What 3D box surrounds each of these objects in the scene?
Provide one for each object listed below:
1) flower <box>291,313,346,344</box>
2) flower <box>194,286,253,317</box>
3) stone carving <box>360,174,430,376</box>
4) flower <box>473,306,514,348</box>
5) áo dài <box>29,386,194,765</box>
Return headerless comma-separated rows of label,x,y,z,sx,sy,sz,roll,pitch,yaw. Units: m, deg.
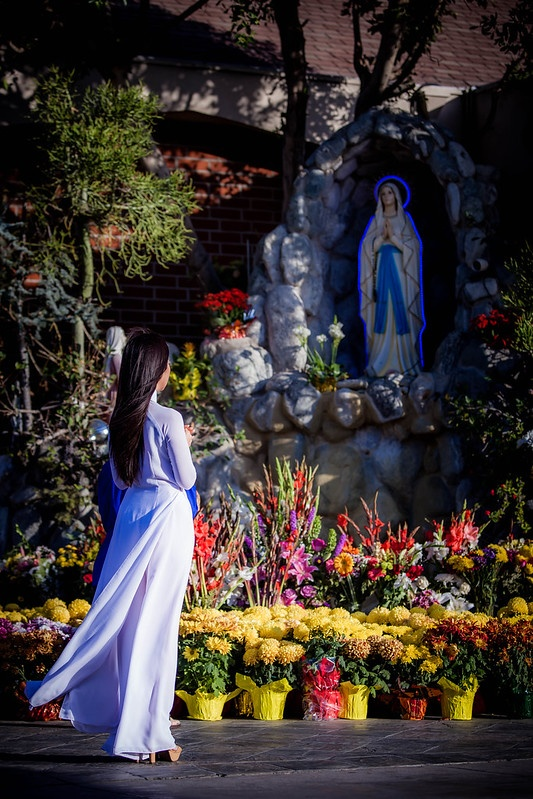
flower,0.476,-0.615,9.176,0.407,0.191,0.242,-7,-22,19
flower,-0.347,-0.871,9.222,0.302,0.188,0.309,-1,3,7
stone carving,1.141,-1.083,9.392,0.664,1.765,0.395,4,3,10
flower,1.775,-0.550,8.070,0.392,0.311,0.266,5,3,29
áo dài,-0.484,0.587,3.539,0.466,1.168,0.427,5,3,13
